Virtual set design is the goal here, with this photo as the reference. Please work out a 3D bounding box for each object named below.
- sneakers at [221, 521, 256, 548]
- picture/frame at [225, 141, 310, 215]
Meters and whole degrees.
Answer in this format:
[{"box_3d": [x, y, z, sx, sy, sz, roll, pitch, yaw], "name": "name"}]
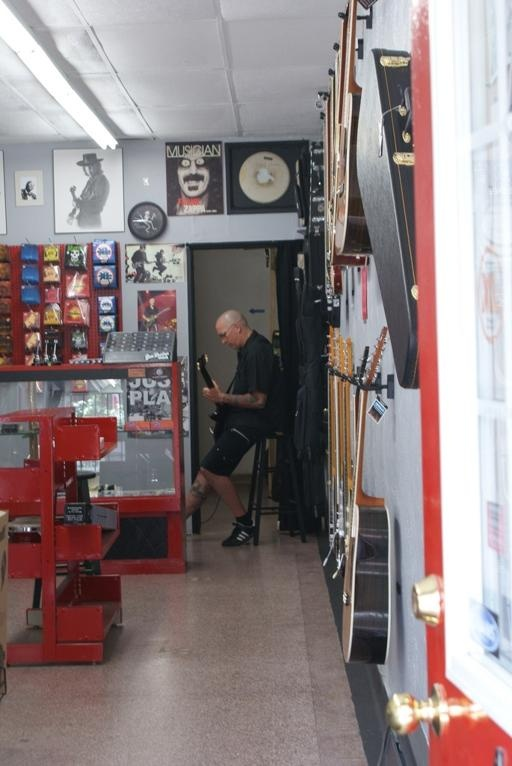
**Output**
[{"box_3d": [-0.137, 1.220, 4.852, 0.119, 0.187, 0.339, -6, 10, 25], "name": "sneakers"}, {"box_3d": [0.086, -1.749, 5.301, 0.729, 1.067, 0.215, 8, -34, 6], "name": "picture/frame"}]
